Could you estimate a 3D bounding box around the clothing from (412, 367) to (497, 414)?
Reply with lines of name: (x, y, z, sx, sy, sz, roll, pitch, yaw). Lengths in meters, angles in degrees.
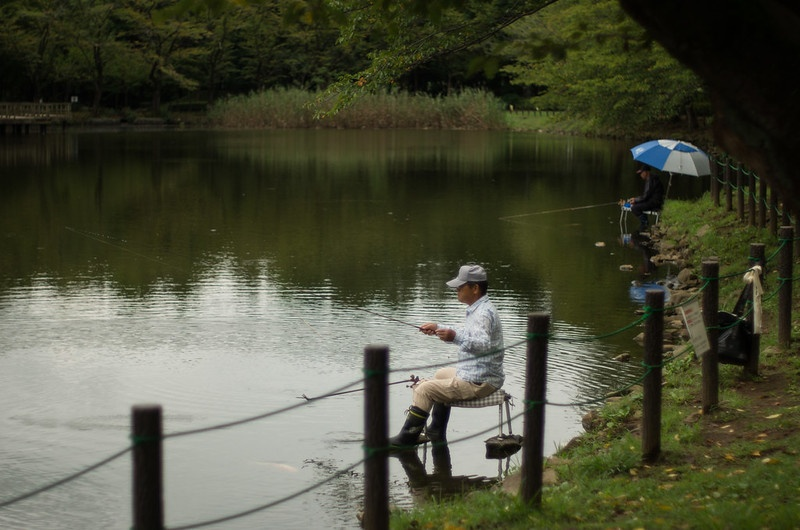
clothing: (0.531, 1.356, 12.164, 0.723, 0.274, 0.473, -15, -15, 4)

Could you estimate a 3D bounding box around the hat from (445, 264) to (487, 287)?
hat: (0.729, 0.125, 12.277, 0.410, 0.176, 0.242, -1, 3, 5)

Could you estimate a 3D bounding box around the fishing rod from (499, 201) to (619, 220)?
fishing rod: (3.441, -1.174, 24.598, 5.857, 0.244, 0.152, -4, -27, -40)

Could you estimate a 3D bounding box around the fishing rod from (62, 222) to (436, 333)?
fishing rod: (-2.383, 0.226, 17.435, 5.876, 0.200, 0.066, 13, 43, 0)

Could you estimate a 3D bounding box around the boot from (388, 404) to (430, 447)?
boot: (0.099, 1.718, 12.076, 0.415, 0.401, 0.328, -3, 8, -12)

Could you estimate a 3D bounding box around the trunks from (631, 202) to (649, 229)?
trunks: (4.717, -0.966, 22.109, 0.330, 0.531, 0.655, 1, 8, 12)

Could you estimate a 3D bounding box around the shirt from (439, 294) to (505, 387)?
shirt: (0.618, 0.792, 11.982, 0.874, 0.963, 1.363, 2, 0, 10)

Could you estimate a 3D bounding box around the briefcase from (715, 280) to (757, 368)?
briefcase: (3.797, 0.699, 12.639, 0.360, 0.958, 0.717, 3, 9, 29)
